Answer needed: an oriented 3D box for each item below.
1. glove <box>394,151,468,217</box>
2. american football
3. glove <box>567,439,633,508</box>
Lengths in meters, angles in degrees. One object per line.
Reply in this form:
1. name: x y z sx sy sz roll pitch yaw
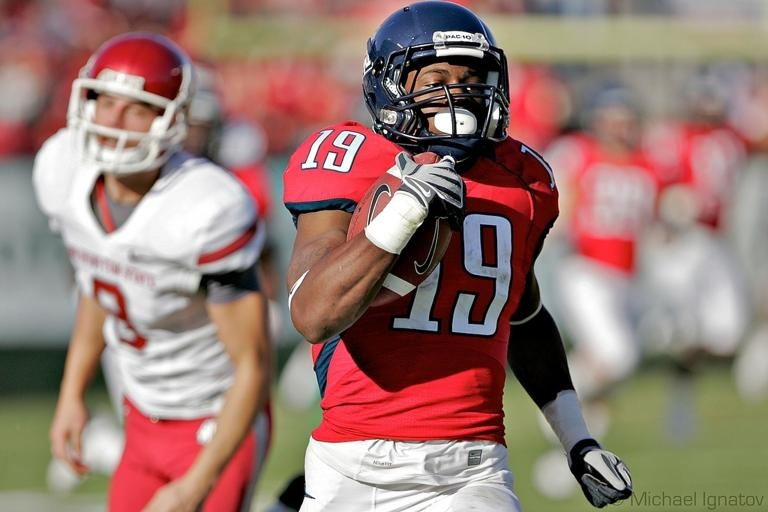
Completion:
1. glove: 0.174 -0.270 3.780 0.265 0.226 0.172 2 14 -1
2. american football: 0.062 -0.128 3.818 0.188 0.527 0.397 20 -18 42
3. glove: 0.912 0.902 4.240 0.293 0.208 0.138 52 13 12
